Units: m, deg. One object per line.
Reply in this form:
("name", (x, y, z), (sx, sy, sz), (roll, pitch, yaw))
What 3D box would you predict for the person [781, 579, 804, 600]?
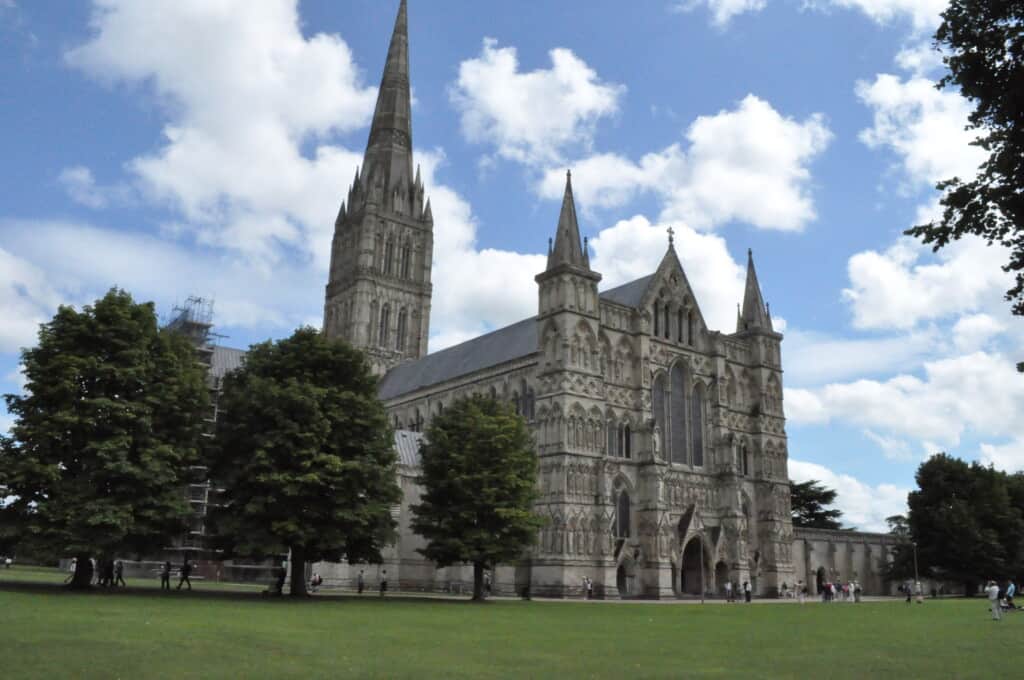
("person", (22.985, 20.349, 91.500), (1.630, 1.094, 2.439), (-12, -30, 32))
